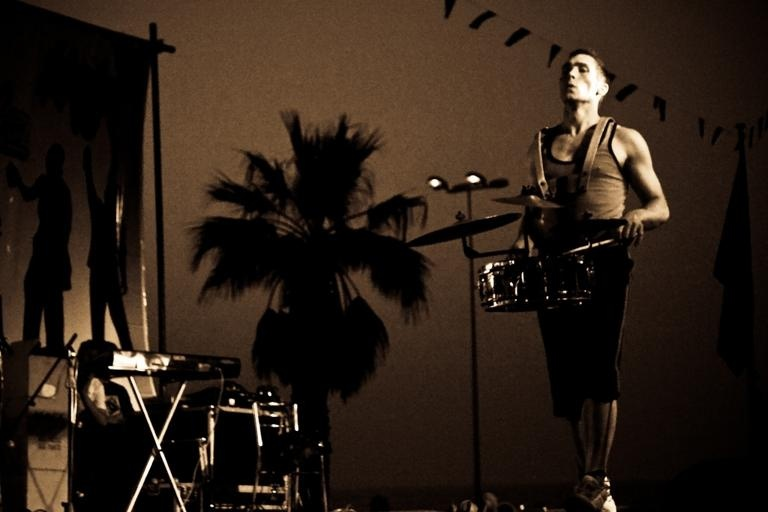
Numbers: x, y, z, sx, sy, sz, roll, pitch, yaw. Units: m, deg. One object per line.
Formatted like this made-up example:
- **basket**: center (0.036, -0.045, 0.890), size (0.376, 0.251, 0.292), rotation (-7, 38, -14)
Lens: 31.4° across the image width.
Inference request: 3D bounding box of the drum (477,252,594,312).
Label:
- **drum**: center (1.453, 0.254, 13.360), size (1.158, 0.508, 0.289), rotation (-5, -11, 28)

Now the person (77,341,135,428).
- **person**: center (-2.697, 1.242, 13.299), size (0.543, 0.814, 0.695), rotation (4, -4, -26)

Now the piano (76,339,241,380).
- **piano**: center (-2.186, 1.038, 13.148), size (1.535, 0.274, 0.336), rotation (4, -11, -26)
